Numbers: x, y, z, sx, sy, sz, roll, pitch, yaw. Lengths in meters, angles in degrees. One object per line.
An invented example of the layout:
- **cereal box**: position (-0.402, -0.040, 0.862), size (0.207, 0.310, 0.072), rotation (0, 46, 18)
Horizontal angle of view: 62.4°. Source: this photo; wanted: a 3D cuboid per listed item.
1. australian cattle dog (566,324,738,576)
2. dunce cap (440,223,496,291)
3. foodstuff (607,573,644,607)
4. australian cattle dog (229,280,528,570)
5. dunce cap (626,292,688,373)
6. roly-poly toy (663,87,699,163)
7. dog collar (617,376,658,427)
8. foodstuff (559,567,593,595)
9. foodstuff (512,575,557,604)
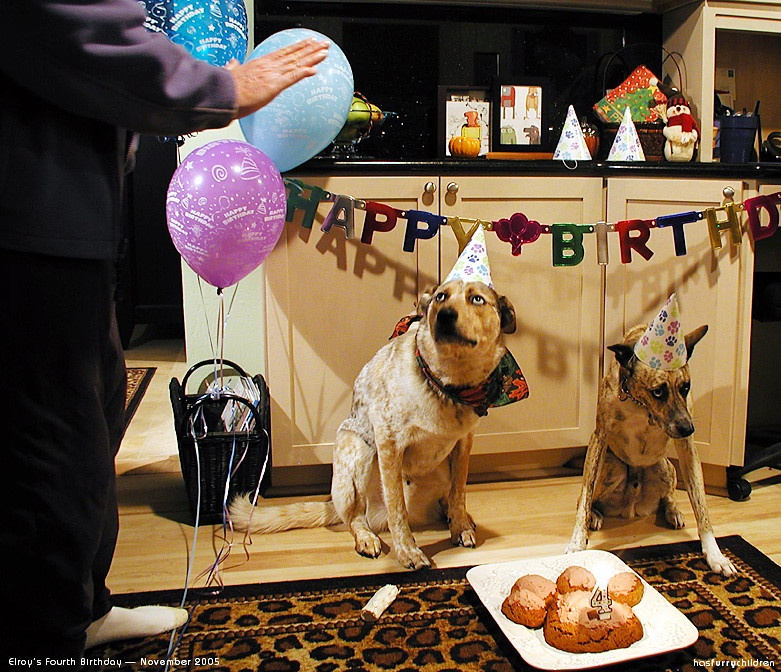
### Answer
- **australian cattle dog**: position (0.828, 0.339, 2.214), size (0.453, 0.853, 0.462), rotation (3, 14, 11)
- **dunce cap**: position (0.246, -0.249, 2.044), size (0.102, 0.206, 0.150), rotation (1, 16, -11)
- **foodstuff**: position (0.644, 0.683, 1.762), size (0.083, 0.043, 0.091), rotation (-20, 31, -6)
- **australian cattle dog**: position (-0.037, 0.145, 2.336), size (0.802, 1.035, 0.780), rotation (-1, 13, -8)
- **dunce cap**: position (0.841, -0.036, 1.954), size (0.172, 0.230, 0.136), rotation (-27, 46, -7)
- **roly-poly toy**: position (1.253, -0.907, 2.804), size (0.124, 0.272, 0.126), rotation (4, 10, 28)
- **dog collar**: position (0.792, 0.203, 2.088), size (0.098, 0.140, 0.047), rotation (0, 43, 52)
- **foodstuff**: position (0.504, 0.643, 1.754), size (0.068, 0.054, 0.067), rotation (-5, 4, -43)
- **foodstuff**: position (0.393, 0.677, 1.771), size (0.067, 0.042, 0.065), rotation (-15, 14, -43)
